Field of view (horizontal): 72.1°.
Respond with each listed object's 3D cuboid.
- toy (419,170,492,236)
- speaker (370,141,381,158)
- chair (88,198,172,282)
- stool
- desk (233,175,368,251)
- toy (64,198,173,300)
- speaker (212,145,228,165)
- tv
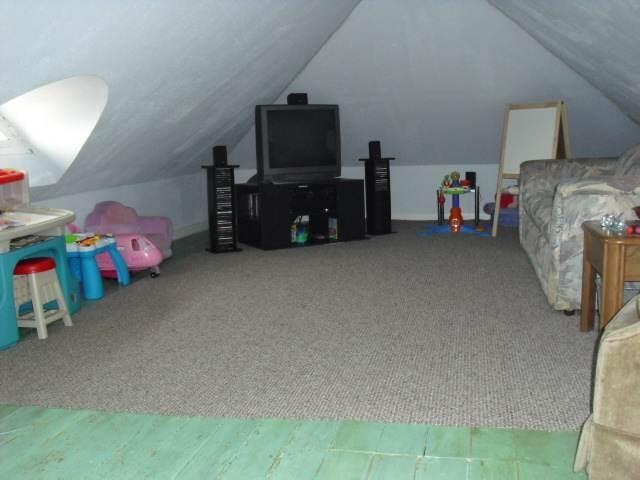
[{"bbox_3d":[1.699,-0.450,5.575,0.806,0.768,0.876,1,8,20],"label":"toy"},{"bbox_3d":[0.662,-1.084,5.298,0.127,0.207,0.236,-2,12,3],"label":"speaker"},{"bbox_3d":[-1.661,-0.014,3.942,0.637,0.611,0.667,1,15,-4],"label":"chair"},{"bbox_3d":[-1.752,0.233,3.316,0.501,0.382,0.512,-8,10,7],"label":"stool"},{"bbox_3d":[-0.205,-0.418,5.037,1.468,0.769,0.803,-4,16,-11],"label":"desk"},{"bbox_3d":[-1.688,0.078,3.822,0.750,0.761,0.779,4,11,22],"label":"toy"},{"bbox_3d":[-1.030,-0.874,4.558,0.140,0.204,0.247,-5,12,-14],"label":"speaker"},{"bbox_3d":[-0.259,-1.064,4.818,0.873,0.755,0.445,-3,5,-22],"label":"tv"}]
